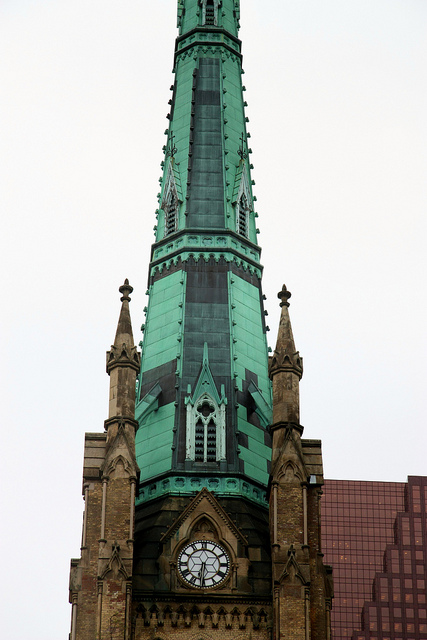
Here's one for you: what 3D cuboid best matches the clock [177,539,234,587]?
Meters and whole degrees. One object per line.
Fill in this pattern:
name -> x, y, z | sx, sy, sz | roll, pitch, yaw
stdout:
clock -> -0.283, 8.456, 45.044 | 1.594, 1.740, 0.176 | 11, -53, 5
